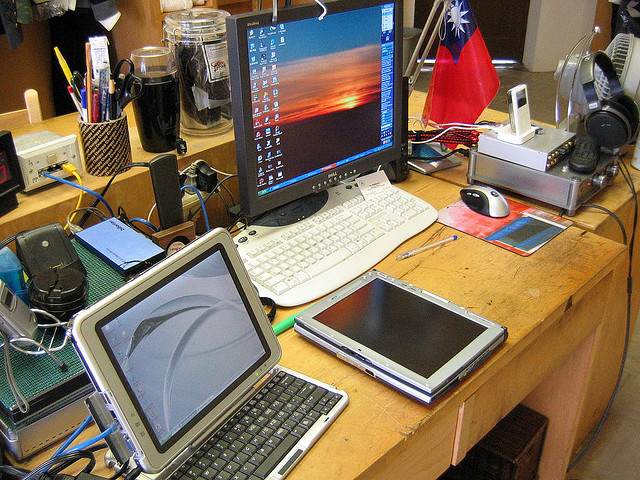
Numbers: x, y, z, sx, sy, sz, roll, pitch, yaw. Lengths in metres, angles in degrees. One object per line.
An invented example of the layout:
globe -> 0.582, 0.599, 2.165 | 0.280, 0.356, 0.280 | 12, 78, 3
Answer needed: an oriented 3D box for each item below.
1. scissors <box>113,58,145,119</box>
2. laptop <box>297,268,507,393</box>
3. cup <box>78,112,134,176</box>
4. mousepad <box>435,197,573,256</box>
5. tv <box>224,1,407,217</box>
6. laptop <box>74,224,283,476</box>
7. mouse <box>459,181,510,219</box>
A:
scissors -> -0.499, -0.409, 1.330 | 0.082, 0.129, 0.191 | -13, 35, -16
laptop -> 0.166, 0.175, 1.047 | 0.358, 0.029, 0.231 | 20, 41, 30
cup -> -0.551, -0.264, 1.324 | 0.120, 0.145, 0.127 | -4, 12, 1
mousepad -> 0.489, -0.029, 1.355 | 0.241, 0.044, 0.191 | -11, 27, -30
tv -> -0.007, -0.329, 1.283 | 0.480, 0.435, 0.047 | -26, 34, -30
laptop -> -0.244, 0.201, 0.863 | 0.271, 0.361, 0.131 | -25, 19, -27
mouse -> 0.459, -0.118, 1.436 | 0.083, 0.043, 0.118 | -21, 49, -33
